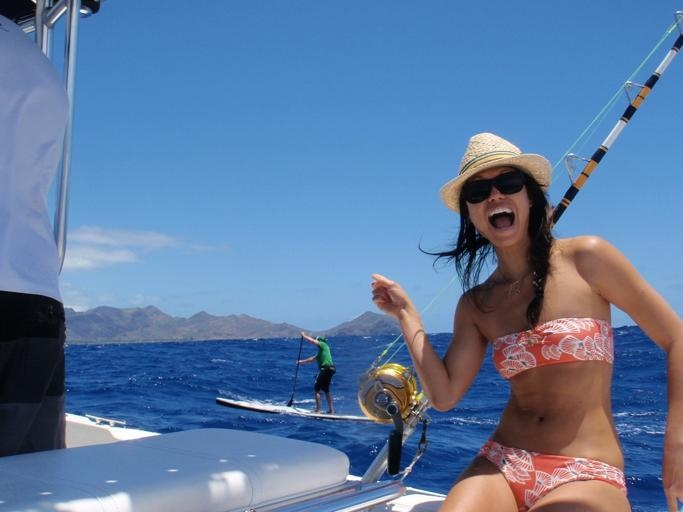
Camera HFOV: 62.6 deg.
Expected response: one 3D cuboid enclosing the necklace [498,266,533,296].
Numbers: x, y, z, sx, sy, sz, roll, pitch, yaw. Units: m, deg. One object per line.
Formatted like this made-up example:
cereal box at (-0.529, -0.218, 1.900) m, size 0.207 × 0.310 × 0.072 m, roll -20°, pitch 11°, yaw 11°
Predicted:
necklace at (0.677, 0.101, 2.165) m, size 0.030 × 0.088 × 0.089 m, roll 38°, pitch 13°, yaw -15°
